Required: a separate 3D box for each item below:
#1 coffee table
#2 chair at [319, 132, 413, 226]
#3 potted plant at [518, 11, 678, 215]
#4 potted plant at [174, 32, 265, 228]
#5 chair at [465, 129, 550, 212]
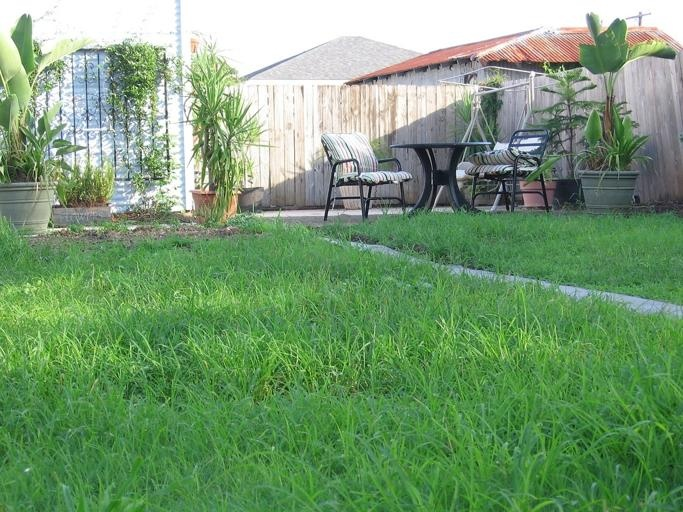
[{"bbox_3d":[1.215,-0.984,7.003,1.032,0.920,1.133,-9,9,-23],"label":"coffee table"},{"bbox_3d":[0.298,-0.992,6.916,0.803,1.143,1.065,-4,7,-25],"label":"chair"},{"bbox_3d":[3.092,-1.599,6.342,1.045,2.198,2.117,0,3,31],"label":"potted plant"},{"bbox_3d":[-1.415,-1.481,6.942,0.960,2.128,1.794,-2,3,-16],"label":"potted plant"},{"bbox_3d":[2.177,-1.086,7.308,0.771,1.269,0.837,3,-1,-17],"label":"chair"}]
